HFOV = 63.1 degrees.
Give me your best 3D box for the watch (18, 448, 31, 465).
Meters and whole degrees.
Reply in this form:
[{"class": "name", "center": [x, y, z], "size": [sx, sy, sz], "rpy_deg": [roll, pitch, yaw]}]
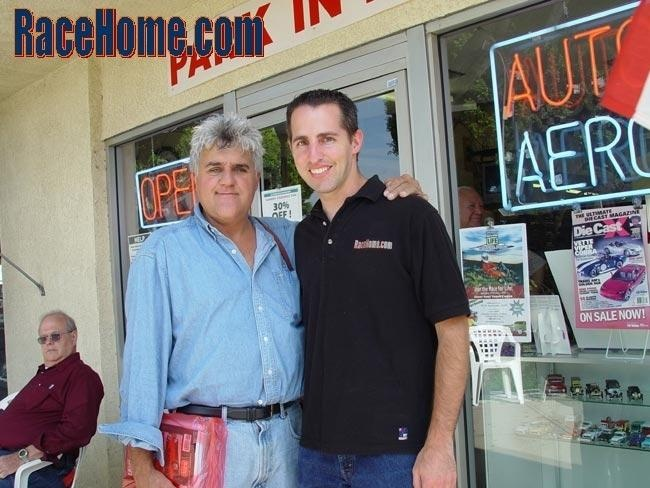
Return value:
[{"class": "watch", "center": [-2.078, 1.470, 3.676], "size": [0.062, 0.098, 0.093], "rpy_deg": [3, -45, -3]}]
